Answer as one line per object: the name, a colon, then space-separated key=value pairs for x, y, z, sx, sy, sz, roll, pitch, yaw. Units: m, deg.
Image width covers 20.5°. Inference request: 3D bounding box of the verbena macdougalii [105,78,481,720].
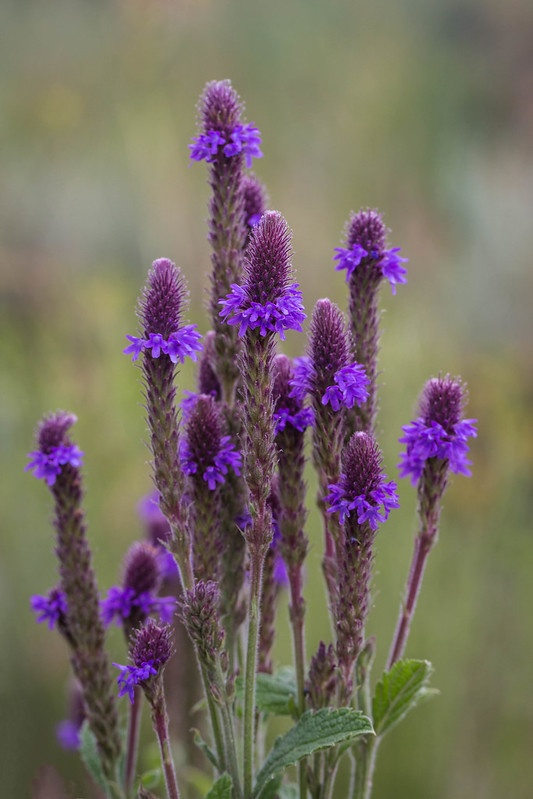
verbena macdougalii: x=0.023 y=0.086 z=2.374 sx=0.614 sy=0.937 sz=0.497 roll=19 pitch=-34 yaw=-24
